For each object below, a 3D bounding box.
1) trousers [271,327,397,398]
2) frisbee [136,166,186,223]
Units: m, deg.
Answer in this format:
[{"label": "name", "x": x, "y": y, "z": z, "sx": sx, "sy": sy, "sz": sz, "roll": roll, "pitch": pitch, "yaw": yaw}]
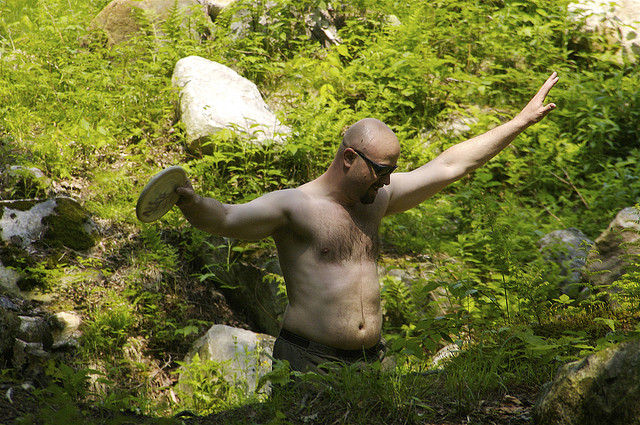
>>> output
[{"label": "trousers", "x": 0.129, "y": 1.700, "z": 8.902, "sx": 1.311, "sy": 0.523, "sz": 0.723, "roll": 5, "pitch": 29, "yaw": -6}, {"label": "frisbee", "x": -1.705, "y": -0.186, "z": 8.409, "sx": 0.120, "sy": 0.577, "sz": 0.604, "roll": 40, "pitch": 40, "yaw": 27}]
